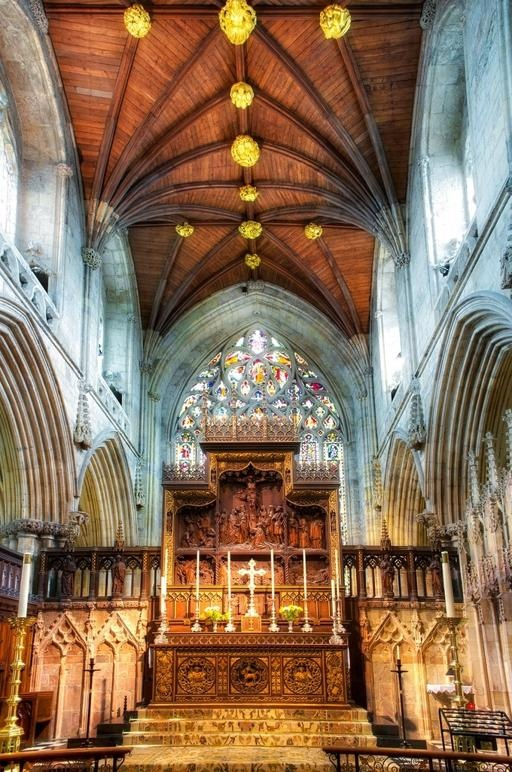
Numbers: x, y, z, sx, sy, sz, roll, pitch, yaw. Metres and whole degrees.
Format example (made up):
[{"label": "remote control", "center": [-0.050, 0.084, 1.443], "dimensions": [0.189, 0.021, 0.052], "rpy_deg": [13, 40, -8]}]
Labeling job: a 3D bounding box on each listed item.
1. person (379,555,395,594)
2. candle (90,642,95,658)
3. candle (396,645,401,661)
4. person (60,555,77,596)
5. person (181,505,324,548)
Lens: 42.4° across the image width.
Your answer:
[{"label": "person", "center": [2.044, 2.974, 10.288], "dimensions": [0.195, 0.724, 0.562], "rpy_deg": [-5, -23, 10]}, {"label": "candle", "center": [-2.478, 4.000, 9.943], "dimensions": [0.091, 0.224, 0.082], "rpy_deg": [0, -23, -3]}, {"label": "candle", "center": [2.046, 3.860, 9.541], "dimensions": [0.033, 0.153, 0.126], "rpy_deg": [-13, -26, 27]}, {"label": "person", "center": [-3.072, 3.123, 10.764], "dimensions": [0.195, 0.755, 0.460], "rpy_deg": [5, -24, -14]}, {"label": "person", "center": [-0.070, 2.053, 9.467], "dimensions": [2.090, 0.615, 0.196], "rpy_deg": [0, -23, -3]}]
